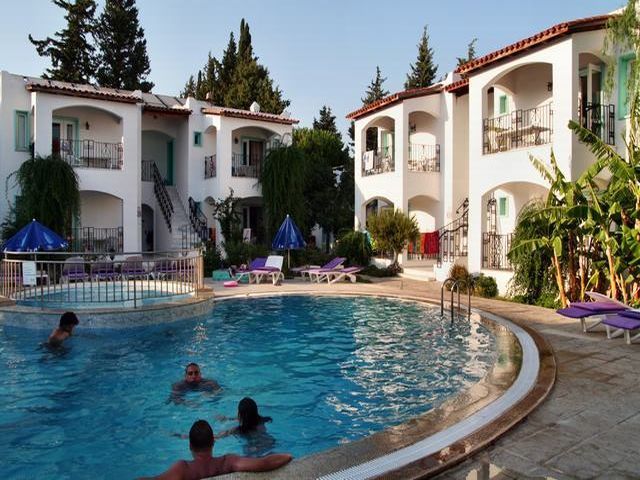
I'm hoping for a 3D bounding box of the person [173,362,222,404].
[{"bbox_3d":[-2.802,3.183,12.939,1.053,0.965,0.634,-3,-13,-14],"label":"person"}]

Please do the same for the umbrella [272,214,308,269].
[{"bbox_3d":[-1.403,-0.150,25.986,1.766,3.345,2.056,-2,6,-9],"label":"umbrella"}]
